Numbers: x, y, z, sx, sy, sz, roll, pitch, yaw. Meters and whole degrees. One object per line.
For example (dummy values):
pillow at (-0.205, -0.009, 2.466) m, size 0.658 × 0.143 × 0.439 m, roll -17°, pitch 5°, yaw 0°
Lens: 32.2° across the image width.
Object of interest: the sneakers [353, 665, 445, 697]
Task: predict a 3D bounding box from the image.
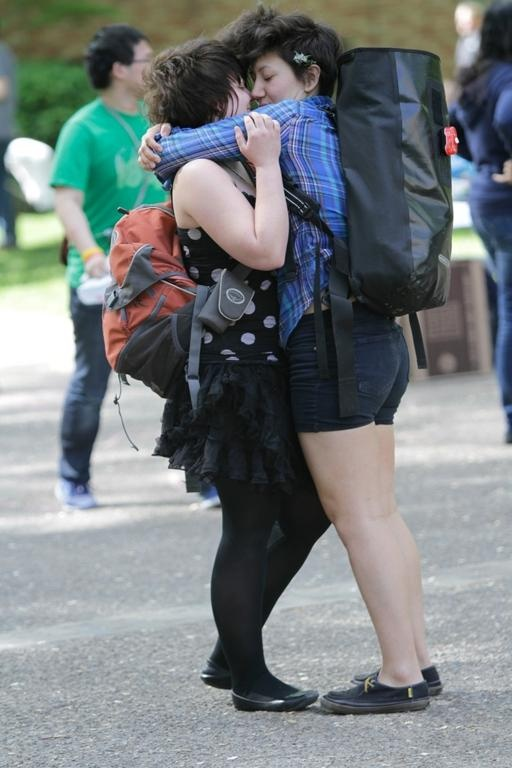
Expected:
sneakers at (0.361, 0.723, 2.175) m, size 0.259 × 0.085 × 0.082 m, roll 2°, pitch -2°, yaw -4°

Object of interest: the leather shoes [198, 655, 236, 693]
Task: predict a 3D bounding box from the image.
leather shoes at (-0.105, 0.744, 2.291) m, size 0.052 × 0.050 × 0.129 m, roll 11°, pitch 2°, yaw 5°

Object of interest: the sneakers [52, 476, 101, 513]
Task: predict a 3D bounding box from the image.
sneakers at (-0.820, 0.521, 4.102) m, size 0.109 × 0.083 × 0.219 m, roll 1°, pitch -1°, yaw -37°

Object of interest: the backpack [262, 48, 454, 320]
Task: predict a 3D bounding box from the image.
backpack at (0.290, -0.463, 2.042) m, size 0.260 × 0.514 × 0.383 m, roll -4°, pitch 2°, yaw 41°

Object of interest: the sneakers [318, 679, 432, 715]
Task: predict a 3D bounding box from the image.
sneakers at (0.274, 0.724, 2.047) m, size 0.234 × 0.075 × 0.098 m, roll -1°, pitch -5°, yaw 11°

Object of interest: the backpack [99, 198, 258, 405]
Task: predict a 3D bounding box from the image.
backpack at (-0.087, -0.161, 2.154) m, size 0.500 × 0.444 × 0.362 m, roll -4°, pitch -30°, yaw -1°

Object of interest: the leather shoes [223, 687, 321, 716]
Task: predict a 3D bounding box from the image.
leather shoes at (0.038, 0.733, 2.090) m, size 0.161 × 0.049 × 0.080 m, roll -7°, pitch -7°, yaw 14°
